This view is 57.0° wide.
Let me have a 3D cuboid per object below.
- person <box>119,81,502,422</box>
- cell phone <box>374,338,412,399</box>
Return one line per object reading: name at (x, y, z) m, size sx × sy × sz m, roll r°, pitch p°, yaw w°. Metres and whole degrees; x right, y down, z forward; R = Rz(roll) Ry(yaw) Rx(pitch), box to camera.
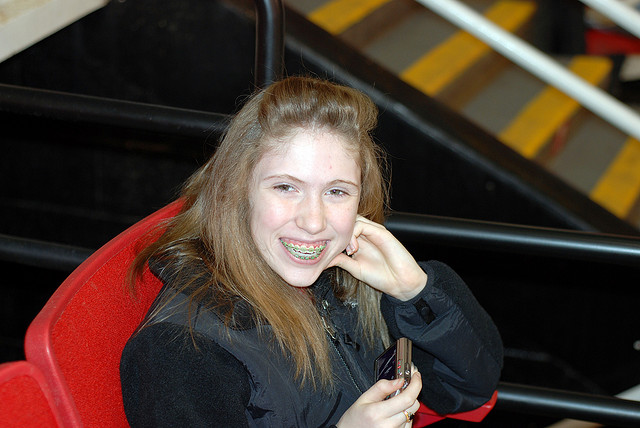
person at (-0.004, 0.122, 1.602) m, size 0.986 × 0.936 × 0.400 m, roll 5°, pitch 8°, yaw -20°
cell phone at (0.189, 0.400, 1.509) m, size 0.087 × 0.031 × 0.161 m, roll -33°, pitch 18°, yaw 23°
